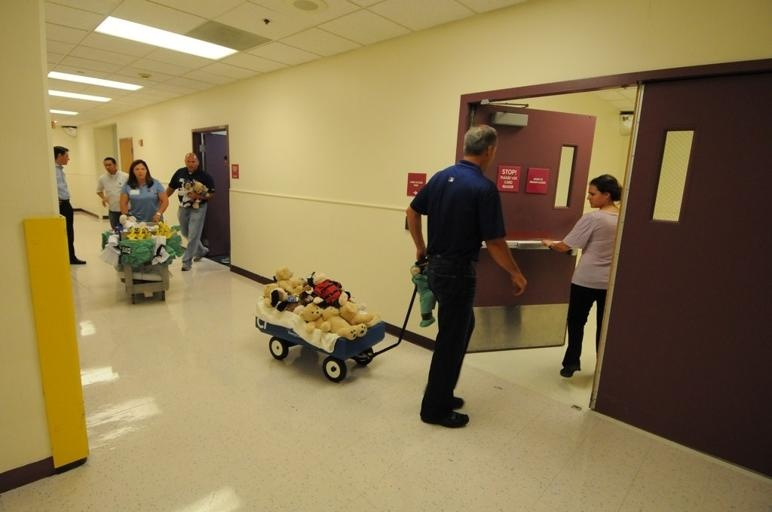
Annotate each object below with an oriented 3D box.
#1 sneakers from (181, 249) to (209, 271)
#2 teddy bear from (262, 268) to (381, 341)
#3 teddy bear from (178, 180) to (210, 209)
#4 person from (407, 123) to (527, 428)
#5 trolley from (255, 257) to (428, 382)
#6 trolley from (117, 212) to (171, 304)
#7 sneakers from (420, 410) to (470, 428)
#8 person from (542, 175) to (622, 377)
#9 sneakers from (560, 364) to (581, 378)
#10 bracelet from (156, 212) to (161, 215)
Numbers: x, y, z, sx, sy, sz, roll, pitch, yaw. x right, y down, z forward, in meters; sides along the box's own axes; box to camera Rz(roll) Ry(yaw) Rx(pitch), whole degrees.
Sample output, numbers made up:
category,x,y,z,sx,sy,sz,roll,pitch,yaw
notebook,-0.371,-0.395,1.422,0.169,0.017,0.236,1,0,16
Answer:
category,x,y,z,sx,sy,sz,roll,pitch,yaw
sneakers,-2.976,0.063,8.257,0.117,0.208,0.504,7,26,27
teddy bear,-0.648,0.442,4.995,0.887,0.357,0.600,21,23,26
teddy bear,-2.783,-0.899,7.745,0.423,0.392,0.232,-2,14,-18
person,0.629,0.186,4.332,0.634,2.429,0.461,1,13,-5
trolley,-0.363,0.524,4.974,1.700,1.267,0.882,12,16,32
trolley,-2.835,-0.057,6.676,0.836,1.147,1.106,-3,19,-22
sneakers,0.495,1.336,4.472,0.393,0.178,0.150,-1,10,5
person,1.819,0.210,5.008,0.507,1.910,0.610,8,14,21
sneakers,1.746,1.093,5.066,0.188,0.089,0.109,-3,4,-31
bracelet,-2.877,-0.535,6.748,0.044,0.047,0.011,-3,-8,6
